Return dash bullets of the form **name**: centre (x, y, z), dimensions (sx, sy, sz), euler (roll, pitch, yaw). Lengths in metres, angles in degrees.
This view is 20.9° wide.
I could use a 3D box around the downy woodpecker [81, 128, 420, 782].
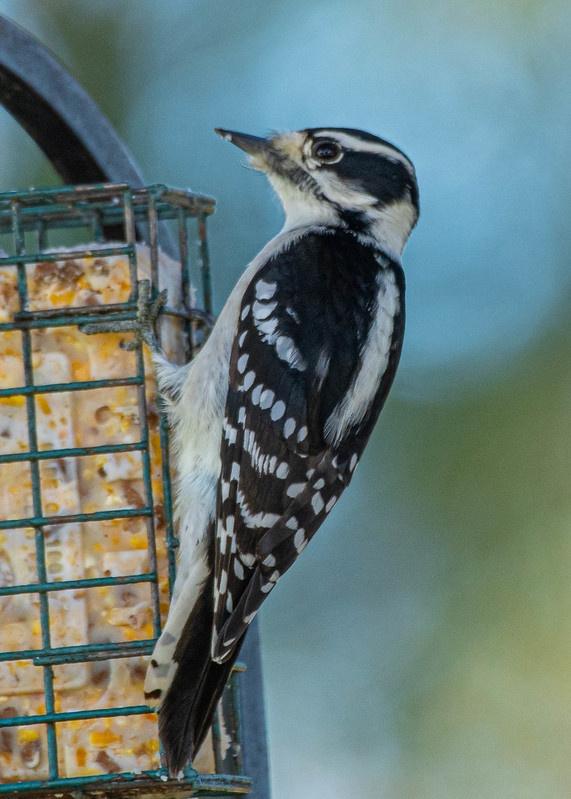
- **downy woodpecker**: centre (-0.054, 0.010, 3.757), dimensions (0.606, 1.551, 0.944), euler (20, -57, -12)
